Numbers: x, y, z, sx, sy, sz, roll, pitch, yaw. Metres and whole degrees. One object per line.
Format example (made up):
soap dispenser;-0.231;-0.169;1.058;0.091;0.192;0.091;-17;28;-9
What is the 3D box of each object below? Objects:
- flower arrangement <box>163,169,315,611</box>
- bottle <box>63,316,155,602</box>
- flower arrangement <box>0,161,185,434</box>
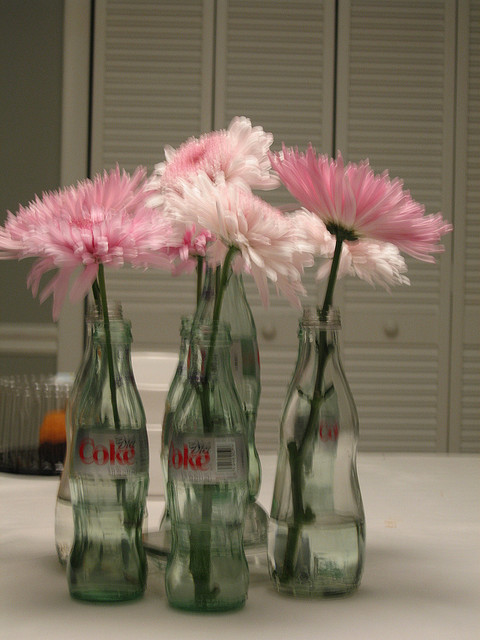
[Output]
flower arrangement;0.003;0.042;0.620;0.109;0.222;0.149;3;1;25
bottle;-0.085;0.093;0.599;0.052;0.137;0.044;2;1;-8
flower arrangement;-0.111;-0.021;0.626;0.119;0.126;0.191;2;1;-26
